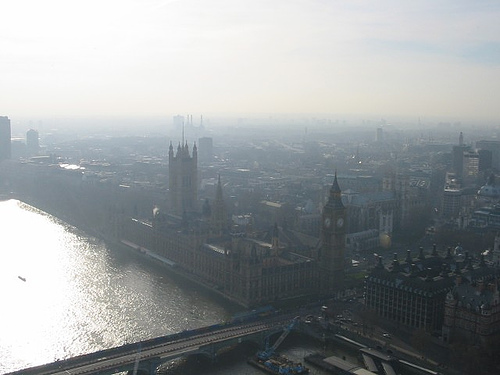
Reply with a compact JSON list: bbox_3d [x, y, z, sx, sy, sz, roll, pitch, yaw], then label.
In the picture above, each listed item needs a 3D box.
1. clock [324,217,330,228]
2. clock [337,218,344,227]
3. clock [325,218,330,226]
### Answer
[{"bbox_3d":[5.977,2.662,43.800,0.519,0.506,0.122,19,11,38],"label":"clock"},{"bbox_3d":[6.934,2.643,43.674,0.612,0.595,0.081,-17,9,-23],"label":"clock"},{"bbox_3d":[6.012,2.628,43.773,0.588,0.568,0.136,0,-5,22],"label":"clock"}]
